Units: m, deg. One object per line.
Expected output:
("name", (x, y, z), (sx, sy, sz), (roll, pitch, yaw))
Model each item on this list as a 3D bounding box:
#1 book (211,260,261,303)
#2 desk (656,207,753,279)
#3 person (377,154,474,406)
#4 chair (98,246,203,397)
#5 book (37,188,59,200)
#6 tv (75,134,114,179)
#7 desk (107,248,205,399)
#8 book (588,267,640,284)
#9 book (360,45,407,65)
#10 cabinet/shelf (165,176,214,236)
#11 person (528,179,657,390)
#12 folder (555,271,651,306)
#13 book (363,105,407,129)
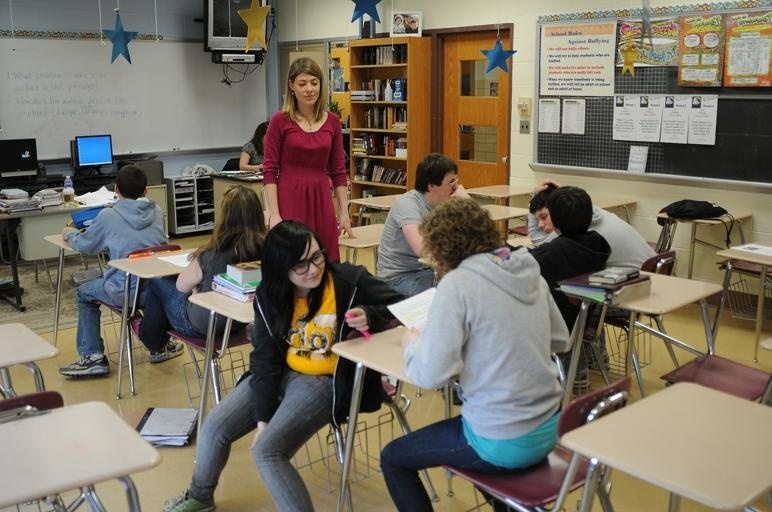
("book", (-0.877, 0.118, 3.206), (0.282, 0.106, 0.219), (16, 16, 42))
("desk", (3.141, -0.280, 5.586), (0.704, 0.852, 0.830), (-16, 21, -40))
("person", (0.362, -0.109, 3.992), (0.791, 1.255, 0.918), (-3, 11, -14))
("chair", (-1.722, 0.492, 4.003), (0.599, 0.897, 0.926), (8, 12, 30))
("book", (-3.772, -0.677, 6.057), (0.222, 0.091, 0.114), (-13, 17, -37))
("tv", (-4.211, -1.430, 7.825), (0.584, 0.721, 0.393), (-7, 10, -44))
("desk", (-1.664, 0.486, 3.946), (0.586, 0.882, 0.918), (6, 11, 21))
("book", (1.292, 0.113, 3.066), (0.150, 0.031, 0.146), (-12, 12, -38))
("book", (-0.049, -2.941, 8.030), (0.891, 0.301, 0.172), (11, 18, 43))
("cabinet/shelf", (-3.094, -0.783, 8.488), (0.317, 0.949, 0.839), (8, 14, 39))
("person", (1.273, 0.166, 3.693), (0.997, 1.344, 0.580), (-5, 20, 17))
("folder", (1.280, 0.177, 3.112), (0.261, 0.069, 0.278), (7, 18, 33))
("book", (0.001, -2.064, 8.157), (0.429, 0.218, 0.222), (6, 10, 39))
